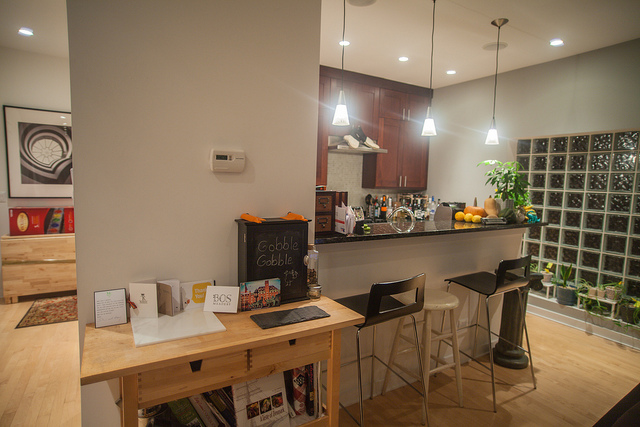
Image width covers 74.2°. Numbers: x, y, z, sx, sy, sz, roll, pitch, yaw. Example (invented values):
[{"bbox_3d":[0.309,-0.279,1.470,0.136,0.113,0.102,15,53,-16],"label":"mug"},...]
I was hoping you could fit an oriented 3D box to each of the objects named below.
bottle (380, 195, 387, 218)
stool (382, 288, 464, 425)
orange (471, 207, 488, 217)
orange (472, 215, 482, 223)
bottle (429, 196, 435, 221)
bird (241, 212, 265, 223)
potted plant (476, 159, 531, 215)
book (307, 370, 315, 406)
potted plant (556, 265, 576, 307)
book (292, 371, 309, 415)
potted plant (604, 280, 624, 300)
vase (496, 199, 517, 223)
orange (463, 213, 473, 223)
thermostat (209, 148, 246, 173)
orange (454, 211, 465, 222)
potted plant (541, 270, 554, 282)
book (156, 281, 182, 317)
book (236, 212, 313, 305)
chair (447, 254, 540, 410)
[{"bbox_3d":[0.941,-0.105,6.269,0.105,0.304,0.395,-1,4,8],"label":"bottle"},{"bbox_3d":[1.069,1.265,4.038,0.936,1.141,0.550,-4,6,-38],"label":"stool"},{"bbox_3d":[1.746,-0.028,4.680,0.117,0.123,0.123,-2,3,23],"label":"orange"},{"bbox_3d":[1.717,0.044,4.624,0.077,0.077,0.075,-22,22,-36],"label":"orange"},{"bbox_3d":[1.716,-0.102,6.489,0.077,0.322,0.462,0,4,14],"label":"bottle"},{"bbox_3d":[-0.518,0.027,3.270,0.171,0.068,0.211,-2,4,-11],"label":"bird"},{"bbox_3d":[2.306,-0.355,5.428,0.713,0.622,1.860,1,4,28],"label":"potted plant"},{"bbox_3d":[-0.063,1.317,3.230,0.059,0.266,0.028,1,5,27],"label":"book"},{"bbox_3d":[3.126,0.885,5.376,0.215,0.498,0.227,-1,6,22],"label":"potted plant"},{"bbox_3d":[-0.144,1.344,3.198,0.066,0.254,0.256,0,-8,12],"label":"book"},{"bbox_3d":[3.498,0.907,5.042,0.136,0.197,0.165,-5,5,-39],"label":"potted plant"},{"bbox_3d":[2.070,-0.028,4.680,0.170,0.247,0.387,3,5,41],"label":"vase"},{"bbox_3d":[1.635,0.041,4.686,0.112,0.095,0.076,1,5,29],"label":"orange"},{"bbox_3d":[-0.700,-0.410,3.232,0.301,0.203,0.164,-1,14,-16],"label":"thermostat"},{"bbox_3d":[1.576,0.034,4.776,0.096,0.097,0.112,8,-21,25],"label":"orange"},{"bbox_3d":[2.956,0.797,5.509,0.146,0.147,0.161,1,5,29],"label":"potted plant"},{"bbox_3d":[-1.110,0.608,3.156,0.182,0.233,0.175,0,6,22],"label":"book"},{"bbox_3d":[-0.310,0.365,3.348,0.513,0.647,0.281,-5,-8,15],"label":"book"},{"bbox_3d":[1.666,1.049,4.304,0.772,1.339,0.815,-3,5,-25],"label":"chair"}]
